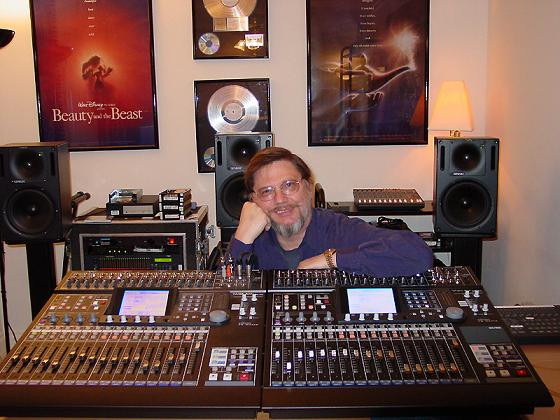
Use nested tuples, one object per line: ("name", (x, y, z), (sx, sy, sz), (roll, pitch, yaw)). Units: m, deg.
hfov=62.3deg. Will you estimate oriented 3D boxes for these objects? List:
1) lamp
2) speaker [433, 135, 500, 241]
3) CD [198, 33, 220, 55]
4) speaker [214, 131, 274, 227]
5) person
("lamp", (1.317, -0.782, 3.543), (0.277, 0.449, 0.218), (-1, 3, -27))
("speaker", (1.193, -0.139, 2.967), (0.373, 0.630, 0.158), (1, 3, 19))
("CD", (-0.583, -1.362, 3.907), (0.156, 0.156, 0.157), (-24, 7, 1))
("speaker", (-0.248, -0.166, 3.278), (0.470, 0.674, 0.448), (2, -11, -20))
("person", (0.209, 0.005, 2.283), (0.643, 0.659, 1.043), (-2, 4, -39))
